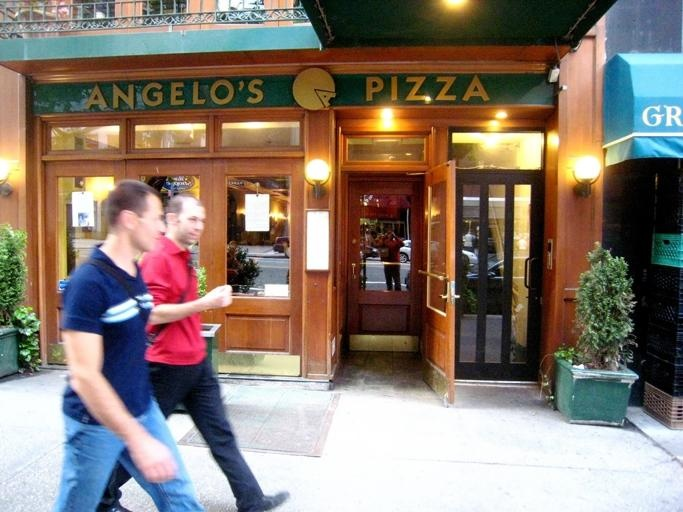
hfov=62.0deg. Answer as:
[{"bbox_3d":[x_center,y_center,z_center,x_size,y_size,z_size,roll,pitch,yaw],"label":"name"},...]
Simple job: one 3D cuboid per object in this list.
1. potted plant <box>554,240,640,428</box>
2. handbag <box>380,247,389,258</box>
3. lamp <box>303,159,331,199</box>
[{"bbox_3d":[2.833,0.860,6.280,0.810,1.939,0.605,6,14,17],"label":"potted plant"},{"bbox_3d":[0.629,-0.061,8.454,0.167,0.239,0.135,0,-1,11],"label":"handbag"},{"bbox_3d":[-0.296,-0.943,7.055,0.354,0.493,0.360,-1,-8,14],"label":"lamp"}]
